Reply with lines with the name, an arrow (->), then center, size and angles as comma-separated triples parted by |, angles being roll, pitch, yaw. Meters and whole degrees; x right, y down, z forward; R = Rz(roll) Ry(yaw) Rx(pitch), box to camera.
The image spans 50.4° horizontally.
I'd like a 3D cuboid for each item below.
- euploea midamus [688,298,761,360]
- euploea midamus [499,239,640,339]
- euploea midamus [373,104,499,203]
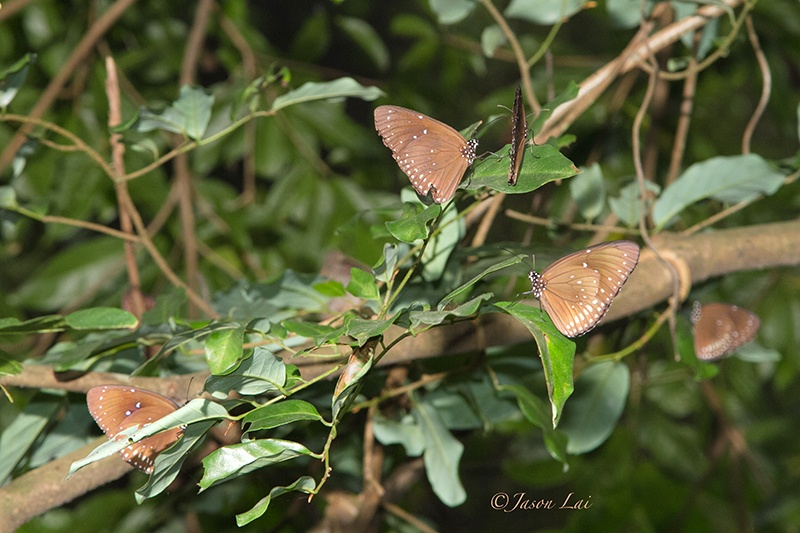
euploea midamus -> 0.431, 0.085, 1.122 | 0.085, 0.017, 0.079 | 1, 70, 2
euploea midamus -> 0.211, 0.030, 1.039 | 0.120, 0.104, 0.169 | 8, 37, 39
euploea midamus -> 0.027, -0.138, 1.078 | 0.136, 0.064, 0.107 | 11, 70, 6
